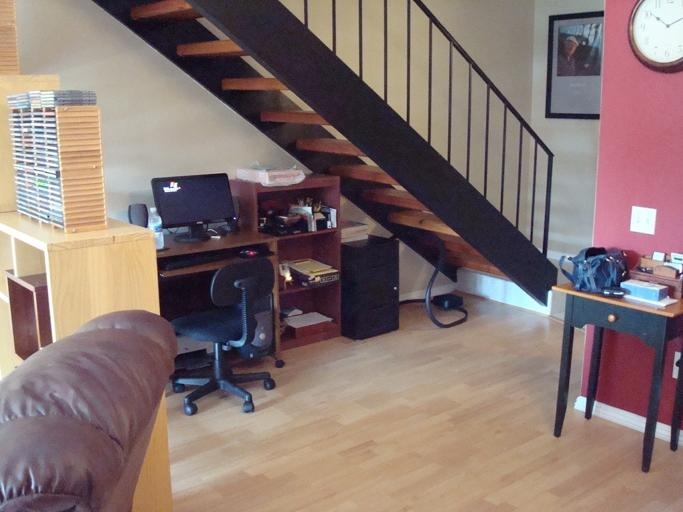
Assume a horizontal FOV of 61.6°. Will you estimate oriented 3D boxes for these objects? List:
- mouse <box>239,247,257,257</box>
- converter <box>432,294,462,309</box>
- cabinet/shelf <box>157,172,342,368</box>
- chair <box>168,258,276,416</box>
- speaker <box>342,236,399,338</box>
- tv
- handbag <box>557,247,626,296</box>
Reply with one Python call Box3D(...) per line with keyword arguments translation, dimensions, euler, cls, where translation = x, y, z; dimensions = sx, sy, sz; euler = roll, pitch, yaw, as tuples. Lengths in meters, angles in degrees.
Box3D(translation=(-0.684, -0.029, 4.165), dimensions=(0.079, 0.020, 0.078), euler=(-9, 18, -37), cls="mouse")
Box3D(translation=(0.991, 0.430, 5.440), dimensions=(0.178, 0.082, 0.173), euler=(5, 11, 32), cls="converter")
Box3D(translation=(-0.694, 0.079, 4.134), dimensions=(1.352, 1.155, 0.441), euler=(-15, 23, -41), cls="cabinet/shelf")
Box3D(translation=(-0.775, 0.539, 3.771), dimensions=(0.716, 0.936, 0.733), euler=(19, 24, 38), cls="chair")
Box3D(translation=(0.248, 0.273, 4.767), dimensions=(0.524, 0.800, 0.174), euler=(-8, 12, -20), cls="speaker")
Box3D(translation=(-1.095, -0.353, 4.186), dimensions=(0.617, 0.444, 0.255), euler=(-7, 5, -33), cls="tv")
Box3D(translation=(1.412, 0.066, 3.260), dimensions=(0.357, 0.238, 0.275), euler=(-7, 12, -4), cls="handbag")
